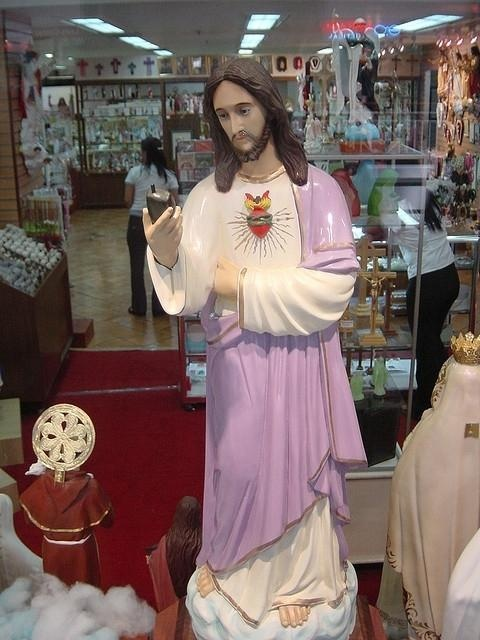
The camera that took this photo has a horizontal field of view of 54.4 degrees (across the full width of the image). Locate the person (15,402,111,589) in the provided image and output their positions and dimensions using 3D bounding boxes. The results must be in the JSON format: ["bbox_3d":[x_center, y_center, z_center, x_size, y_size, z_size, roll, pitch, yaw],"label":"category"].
[{"bbox_3d":[-0.517,0.611,1.438,0.224,0.825,0.204,4,20,-3],"label":"person"}]
